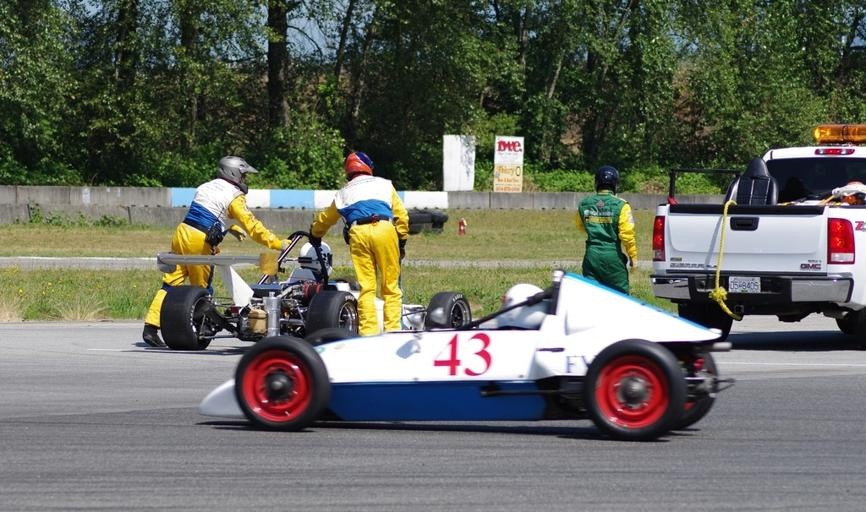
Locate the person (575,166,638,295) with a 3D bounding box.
[{"bbox_3d":[5.213,-0.775,49.286,1.673,3.751,0.934,0,5,5],"label":"person"}]

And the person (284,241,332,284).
[{"bbox_3d":[-3.545,0.044,49.658,1.062,1.321,1.408,14,27,33],"label":"person"}]

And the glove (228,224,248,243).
[{"bbox_3d":[-5.797,-0.748,50.148,0.637,0.338,0.170,33,44,-5],"label":"glove"}]
